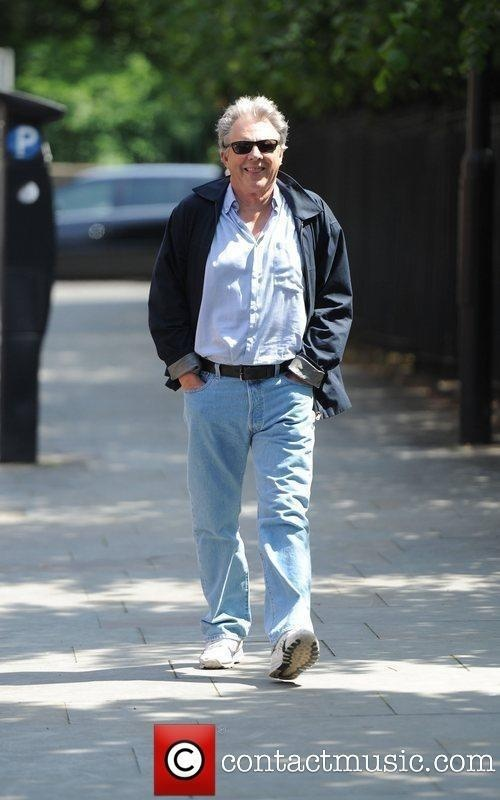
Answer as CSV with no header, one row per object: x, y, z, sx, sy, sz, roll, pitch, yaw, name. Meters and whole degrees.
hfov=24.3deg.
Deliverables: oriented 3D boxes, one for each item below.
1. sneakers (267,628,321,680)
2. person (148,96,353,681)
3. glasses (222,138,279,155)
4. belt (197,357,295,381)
0.143,0.748,3.391,0.109,0.194,0.174,-1,6,-16,sneakers
-0.009,-0.046,3.536,0.629,1.801,0.541,2,6,5,person
0.019,-0.761,3.499,0.137,0.050,0.063,0,6,-8,glasses
-0.009,-0.091,3.545,0.267,0.063,0.100,1,6,-1,belt
